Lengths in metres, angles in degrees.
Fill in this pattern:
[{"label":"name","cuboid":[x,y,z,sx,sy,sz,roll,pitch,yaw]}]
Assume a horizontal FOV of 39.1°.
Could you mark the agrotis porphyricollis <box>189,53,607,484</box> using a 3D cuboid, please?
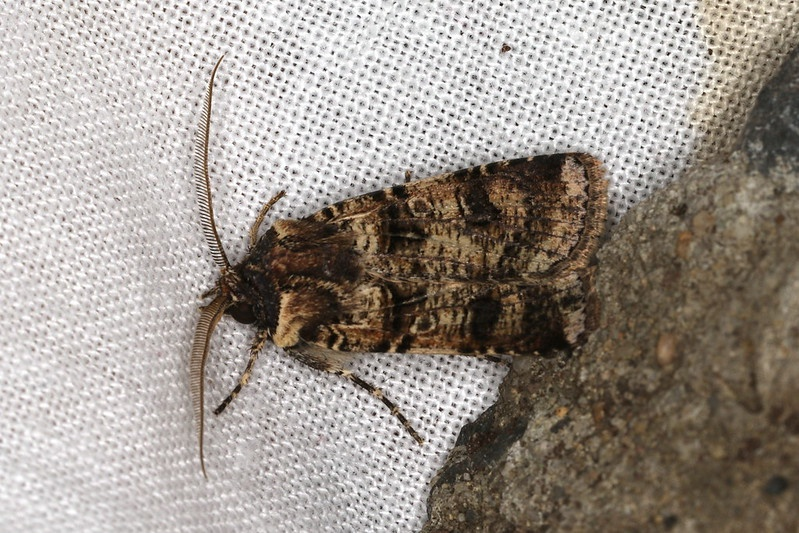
[{"label":"agrotis porphyricollis","cuboid":[0.051,0.008,5.290,1.872,0.257,0.909,-5,82,0]}]
